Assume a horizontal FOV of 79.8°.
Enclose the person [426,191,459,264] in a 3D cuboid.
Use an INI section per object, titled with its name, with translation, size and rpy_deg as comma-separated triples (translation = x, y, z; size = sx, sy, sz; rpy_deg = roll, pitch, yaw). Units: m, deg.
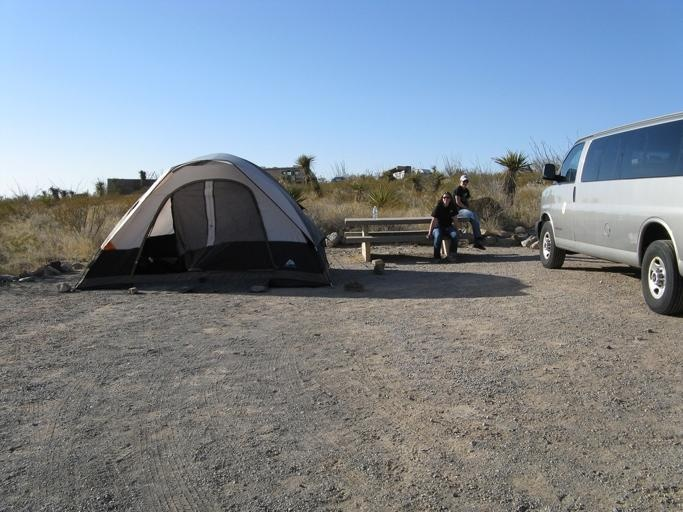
[person]
translation = 2.531, -0.786, 10.245
size = 0.739, 1.644, 0.759
rpy_deg = 1, 9, 11
